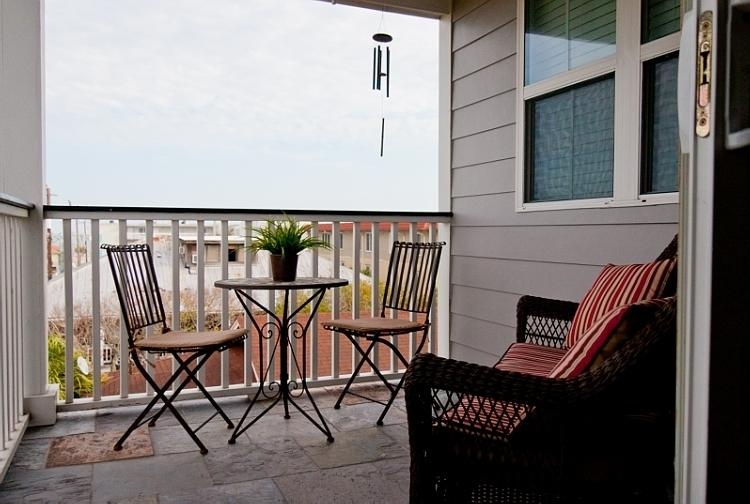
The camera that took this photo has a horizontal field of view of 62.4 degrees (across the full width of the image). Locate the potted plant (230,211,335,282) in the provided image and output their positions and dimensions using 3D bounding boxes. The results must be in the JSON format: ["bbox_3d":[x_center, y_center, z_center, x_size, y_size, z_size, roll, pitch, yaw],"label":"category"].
[{"bbox_3d":[-0.519,-0.021,3.759,0.440,0.348,0.466,-3,6,-32],"label":"potted plant"}]

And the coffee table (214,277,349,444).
[{"bbox_3d":[-0.572,0.656,3.876,0.799,0.915,0.797,-4,-3,44],"label":"coffee table"}]

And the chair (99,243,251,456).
[{"bbox_3d":[-1.263,0.510,4.137,1.089,1.701,0.835,0,-1,7],"label":"chair"}]

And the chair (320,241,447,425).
[{"bbox_3d":[0.045,0.514,4.172,0.844,1.099,0.738,-6,-12,23],"label":"chair"}]
